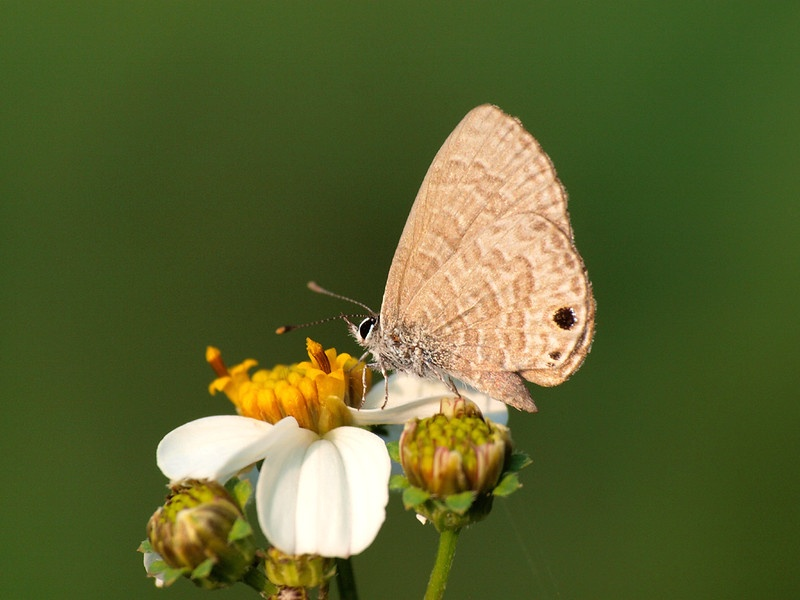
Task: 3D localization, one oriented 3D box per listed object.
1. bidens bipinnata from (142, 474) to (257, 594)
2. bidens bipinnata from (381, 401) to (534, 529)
[{"bbox_3d":[-0.836,0.979,3.377,0.453,0.308,0.277,-9,5,-22],"label":"bidens bipinnata"},{"bbox_3d":[0.230,0.581,3.569,0.485,0.662,0.629,-1,6,0],"label":"bidens bipinnata"}]
